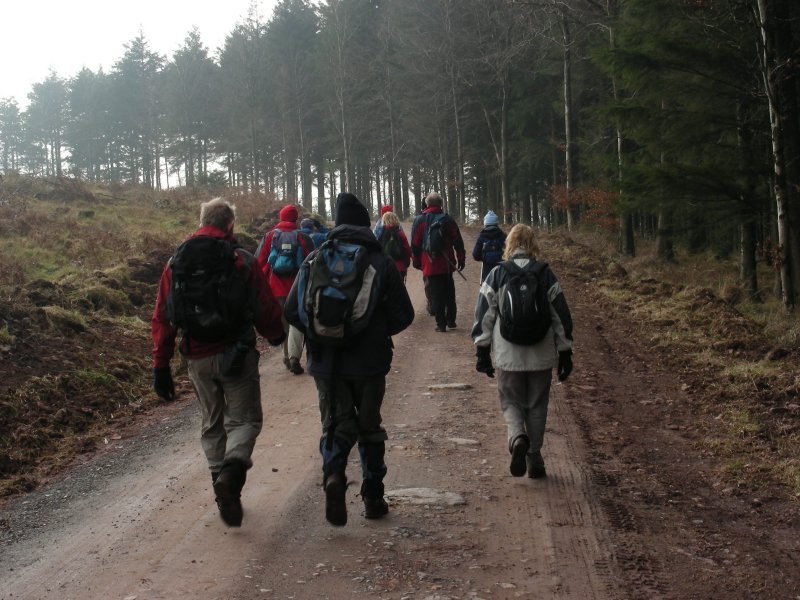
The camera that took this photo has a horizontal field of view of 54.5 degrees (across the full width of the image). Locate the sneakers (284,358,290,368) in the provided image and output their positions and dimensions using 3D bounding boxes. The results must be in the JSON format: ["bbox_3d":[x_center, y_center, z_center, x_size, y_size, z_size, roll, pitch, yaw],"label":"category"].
[{"bbox_3d":[-1.868,1.042,12.864,0.067,0.234,0.152,-1,19,2],"label":"sneakers"}]

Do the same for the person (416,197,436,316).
[{"bbox_3d":[0.511,-0.767,15.073,0.224,3.003,0.390,-2,2,-1],"label":"person"}]

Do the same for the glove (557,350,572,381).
[{"bbox_3d":[1.956,0.756,8.982,0.093,0.358,0.239,0,-11,-17],"label":"glove"}]

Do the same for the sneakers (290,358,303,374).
[{"bbox_3d":[-1.653,1.077,12.466,0.108,0.244,0.321,2,13,16],"label":"sneakers"}]

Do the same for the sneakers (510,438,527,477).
[{"bbox_3d":[1.311,1.745,8.603,0.163,0.458,0.177,-2,3,2],"label":"sneakers"}]

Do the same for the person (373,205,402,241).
[{"bbox_3d":[-0.313,-1.367,15.148,0.607,0.960,0.379,2,26,-1],"label":"person"}]

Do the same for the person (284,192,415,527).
[{"bbox_3d":[-0.513,0.615,8.234,1.080,3.462,0.872,-6,8,-33],"label":"person"}]

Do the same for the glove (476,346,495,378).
[{"bbox_3d":[0.950,0.696,9.083,0.164,0.364,0.340,0,7,4],"label":"glove"}]

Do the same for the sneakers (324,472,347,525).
[{"bbox_3d":[-0.634,2.024,7.890,0.186,0.560,0.218,-5,-2,0],"label":"sneakers"}]
